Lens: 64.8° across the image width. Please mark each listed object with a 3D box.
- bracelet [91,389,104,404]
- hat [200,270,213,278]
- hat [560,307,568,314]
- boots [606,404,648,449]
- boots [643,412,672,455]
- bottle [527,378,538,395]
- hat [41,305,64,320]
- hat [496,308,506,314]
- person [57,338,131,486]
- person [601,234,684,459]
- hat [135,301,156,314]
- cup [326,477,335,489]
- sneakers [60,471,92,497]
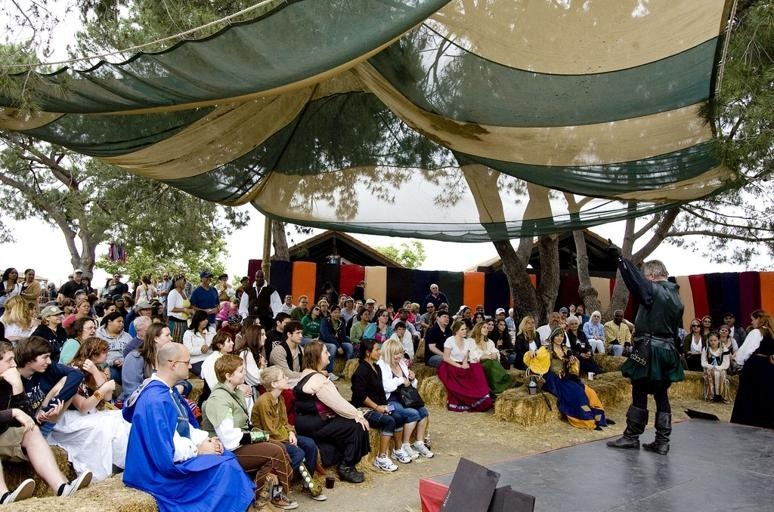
[{"bbox_3d":[-3.183,1.559,6.681,0.106,0.083,0.088,11,-13,25],"label":"bracelet"},{"bbox_3d":[-4.273,0.442,14.323,0.248,0.147,0.184,-18,-10,14],"label":"hat"},{"bbox_3d":[4.142,1.299,14.204,0.145,0.225,0.131,-3,10,5],"label":"hat"},{"bbox_3d":[3.269,2.305,8.243,0.535,0.675,0.312,3,4,38],"label":"boots"},{"bbox_3d":[3.605,2.351,8.057,0.377,0.533,0.376,0,-7,9],"label":"boots"},{"bbox_3d":[2.333,2.115,9.698,0.164,0.311,0.180,-1,-1,0],"label":"bottle"},{"bbox_3d":[-4.634,0.787,8.384,0.249,0.129,0.195,-7,-4,-6],"label":"hat"},{"bbox_3d":[2.661,1.313,14.218,0.248,0.164,0.413,1,-9,-5],"label":"hat"},{"bbox_3d":[-3.340,1.653,6.766,0.821,1.374,0.796,8,1,-10],"label":"person"},{"bbox_3d":[3.487,1.268,8.051,0.965,2.667,0.677,0,-6,7],"label":"person"},{"bbox_3d":[-3.843,0.844,9.562,0.269,0.106,0.203,0,3,26],"label":"hat"},{"bbox_3d":[-0.647,2.614,6.924,0.094,0.089,0.093,0,-5,0],"label":"cup"},{"bbox_3d":[-3.015,2.229,5.874,0.267,0.106,0.091,-45,-5,1],"label":"sneakers"}]
